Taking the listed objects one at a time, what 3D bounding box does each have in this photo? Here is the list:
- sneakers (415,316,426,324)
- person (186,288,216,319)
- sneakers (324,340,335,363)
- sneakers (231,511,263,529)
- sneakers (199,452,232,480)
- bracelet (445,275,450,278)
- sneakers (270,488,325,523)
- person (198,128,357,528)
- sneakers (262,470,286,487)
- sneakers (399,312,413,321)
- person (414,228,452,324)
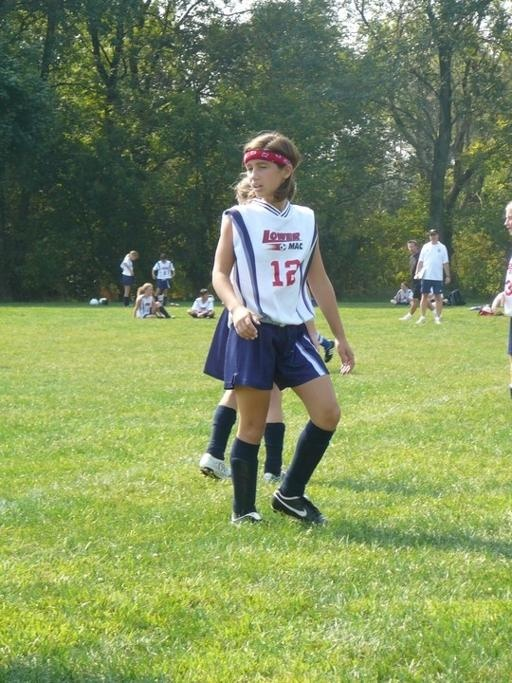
[{"bbox_3d":[3.052,-0.304,18.906,0.103,0.112,0.284,2,-1,19],"label":"sneakers"},{"bbox_3d":[-1.119,-0.631,21.578,0.855,0.858,0.648,1,-1,-2],"label":"person"},{"bbox_3d":[0.568,0.103,8.021,0.066,0.179,0.098,0,-13,44],"label":"sneakers"},{"bbox_3d":[-0.042,0.828,4.764,0.145,0.057,0.050,-6,12,13],"label":"sneakers"},{"bbox_3d":[-0.216,0.693,5.565,0.105,0.079,0.232,-29,-35,22],"label":"sneakers"},{"bbox_3d":[3.519,-1.069,18.639,0.035,0.093,0.072,6,6,-31],"label":"bracelet"},{"bbox_3d":[0.204,0.803,4.927,0.287,0.099,0.097,17,20,12],"label":"sneakers"},{"bbox_3d":[0.128,-0.037,4.742,0.886,1.451,0.461,3,3,-44],"label":"person"},{"bbox_3d":[0.107,0.798,5.914,0.121,0.043,0.086,-4,4,-9],"label":"sneakers"},{"bbox_3d":[3.029,-0.404,20.591,0.134,0.152,0.398,3,-2,36],"label":"sneakers"},{"bbox_3d":[3.242,-1.071,18.676,0.666,1.668,0.468,1,-1,-2],"label":"person"}]
